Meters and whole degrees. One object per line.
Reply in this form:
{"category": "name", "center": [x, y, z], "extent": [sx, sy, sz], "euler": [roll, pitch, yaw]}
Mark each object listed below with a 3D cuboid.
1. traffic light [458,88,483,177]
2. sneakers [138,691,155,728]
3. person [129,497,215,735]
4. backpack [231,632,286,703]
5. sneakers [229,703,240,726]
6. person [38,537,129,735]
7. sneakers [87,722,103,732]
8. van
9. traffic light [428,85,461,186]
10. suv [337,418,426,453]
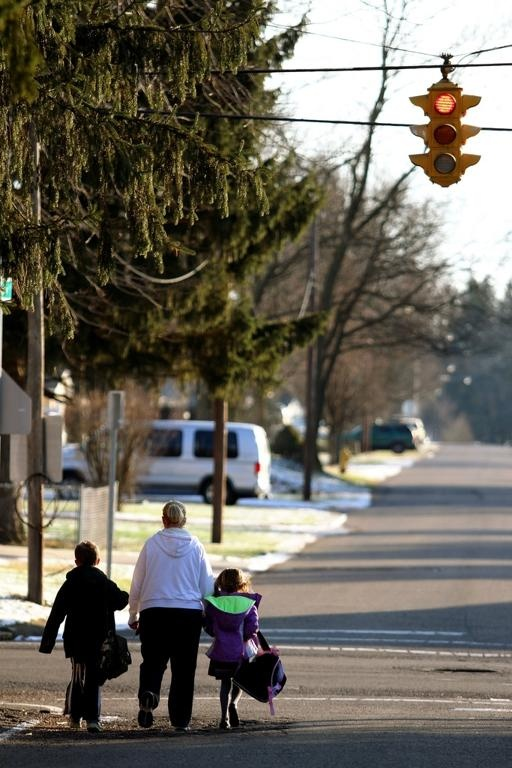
{"category": "traffic light", "center": [1.823, -2.099, 20.257], "extent": [0.170, 0.711, 0.125], "euler": [1, 5, 11]}
{"category": "sneakers", "center": [-0.826, 2.430, 17.515], "extent": [0.105, 0.294, 0.110], "euler": [1, -2, 6]}
{"category": "person", "center": [-0.650, 1.744, 17.635], "extent": [0.632, 1.707, 0.340], "euler": [1, -3, -3]}
{"category": "backpack", "center": [0.045, 2.124, 17.780], "extent": [0.234, 0.548, 0.344], "euler": [4, -2, 1]}
{"category": "sneakers", "center": [-0.172, 2.503, 17.864], "extent": [0.055, 0.191, 0.071], "euler": [-4, -4, 4]}
{"category": "person", "center": [-1.288, 1.898, 17.596], "extent": [0.677, 1.389, 0.260], "euler": [1, -3, -7]}
{"category": "sneakers", "center": [-1.220, 2.566, 17.545], "extent": [0.102, 0.080, 0.079], "euler": [2, -3, -9]}
{"category": "van", "center": [-1.331, 1.269, 37.929], "extent": [2.866, 1.546, 1.498], "euler": [3, -1, 3]}
{"category": "traffic light", "center": [1.622, -2.108, 20.292], "extent": [0.215, 0.907, 0.203], "euler": [0, 2, 3]}
{"category": "suv", "center": [4.101, 1.740, 75.322], "extent": [2.440, 1.239, 1.495], "euler": [3, 0, -9]}
